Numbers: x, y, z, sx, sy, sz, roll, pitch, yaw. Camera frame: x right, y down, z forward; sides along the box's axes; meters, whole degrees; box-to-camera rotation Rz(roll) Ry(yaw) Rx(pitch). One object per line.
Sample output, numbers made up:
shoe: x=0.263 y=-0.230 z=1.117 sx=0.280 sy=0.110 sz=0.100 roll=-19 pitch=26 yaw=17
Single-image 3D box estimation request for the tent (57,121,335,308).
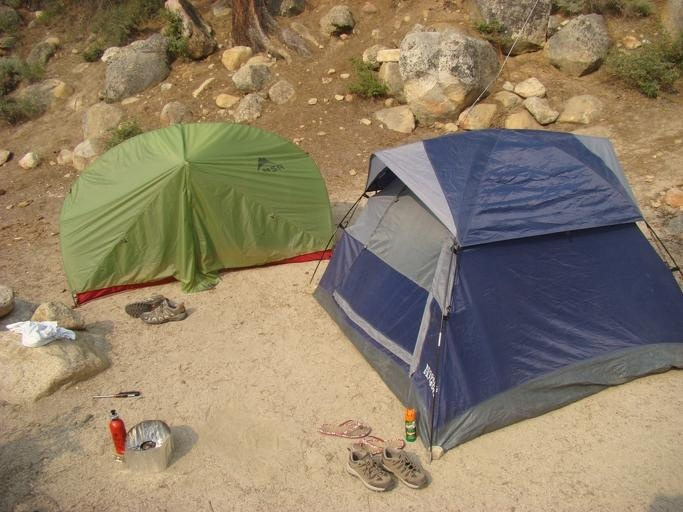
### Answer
tent: x=-2.750 y=-1.030 z=13.404 sx=4.797 sy=1.979 sz=3.004 roll=-12 pitch=35 yaw=-2
